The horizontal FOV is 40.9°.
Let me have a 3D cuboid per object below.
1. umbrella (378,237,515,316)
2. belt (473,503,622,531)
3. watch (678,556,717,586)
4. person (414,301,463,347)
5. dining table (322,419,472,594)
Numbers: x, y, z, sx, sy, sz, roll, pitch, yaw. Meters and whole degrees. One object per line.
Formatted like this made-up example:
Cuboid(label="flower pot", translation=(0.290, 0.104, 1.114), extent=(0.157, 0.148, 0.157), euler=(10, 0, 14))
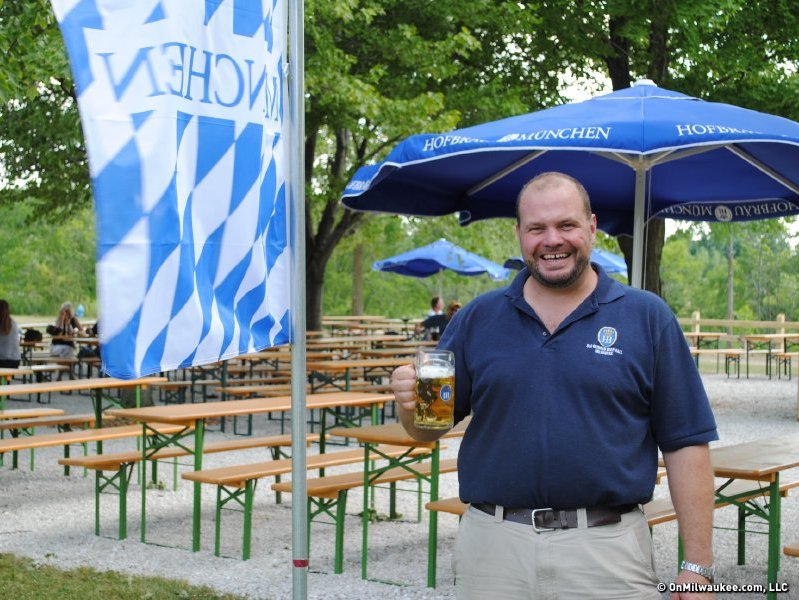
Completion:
Cuboid(label="umbrella", translation=(1.108, -0.761, 30.932), extent=(3.379, 1.480, 3.241), euler=(0, -11, 3))
Cuboid(label="belt", translation=(0.764, 1.053, 5.156), extent=(0.594, 0.112, 0.062), euler=(0, 1, 7))
Cuboid(label="watch", translation=(1.424, 1.293, 5.100), extent=(0.119, 0.050, 0.119), euler=(11, -8, -2))
Cuboid(label="person", translation=(0.662, 0.366, 17.806), extent=(0.547, 0.344, 0.780), euler=(14, 5, 18))
Cuboid(label="dining table", translation=(-0.144, 1.581, 8.488), extent=(1.176, 0.982, 1.164), euler=(-9, -6, -10))
